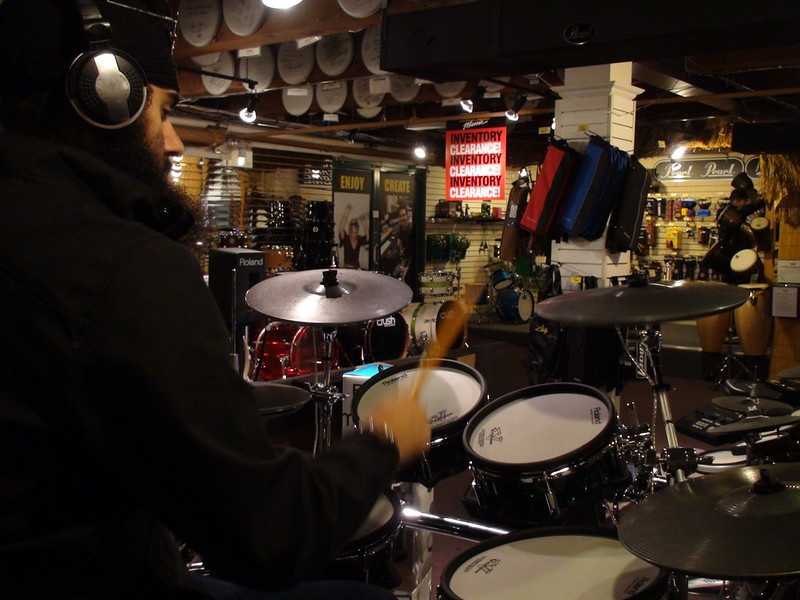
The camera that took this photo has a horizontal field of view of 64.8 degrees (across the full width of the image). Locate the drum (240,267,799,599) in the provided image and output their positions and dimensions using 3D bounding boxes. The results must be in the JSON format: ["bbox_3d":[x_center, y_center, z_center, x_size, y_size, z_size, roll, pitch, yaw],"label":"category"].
[{"bbox_3d":[0.144,0.555,3.190,1.750,0.697,1.202,6,29,23],"label":"drum"}]
